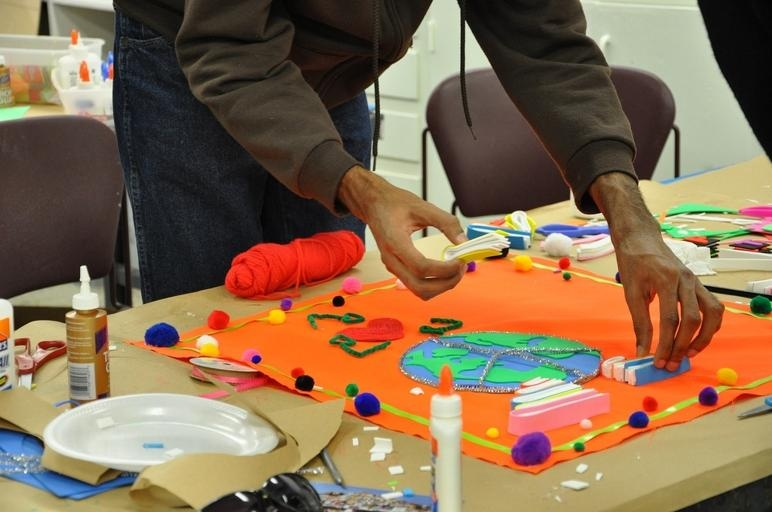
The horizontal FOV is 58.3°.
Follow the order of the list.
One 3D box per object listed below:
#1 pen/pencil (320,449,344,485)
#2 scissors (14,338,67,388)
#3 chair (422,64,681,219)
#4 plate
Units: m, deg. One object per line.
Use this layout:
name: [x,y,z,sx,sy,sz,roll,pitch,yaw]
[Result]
pen/pencil: [-0.092,0.353,1.159,0.008,0.008,0.054,19,27,-47]
scissors: [-0.722,0.202,1.422,0.073,0.019,0.133,7,17,-14]
chair: [0.636,-0.677,2.822,0.842,0.892,0.644,-4,26,2]
plate: [-0.367,0.291,1.146,0.372,0.075,0.181,-2,12,9]
